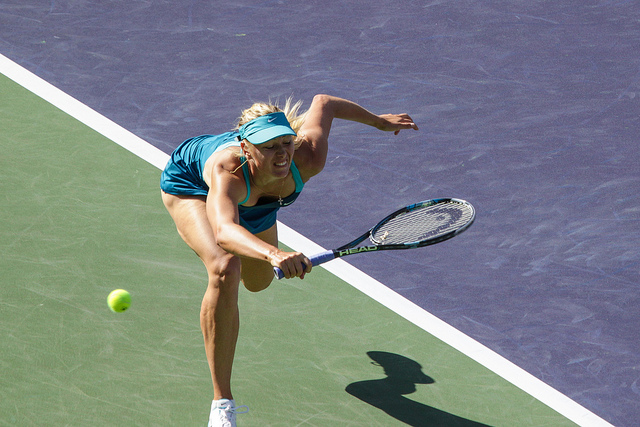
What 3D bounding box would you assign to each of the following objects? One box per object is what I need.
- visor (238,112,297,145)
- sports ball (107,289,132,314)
[{"bbox_3d":[-0.481,-0.775,7.860,0.404,0.290,0.384,2,31,-30],"label":"visor"},{"bbox_3d":[-2.006,0.876,8.645,0.260,0.223,0.241,10,50,-12],"label":"sports ball"}]
